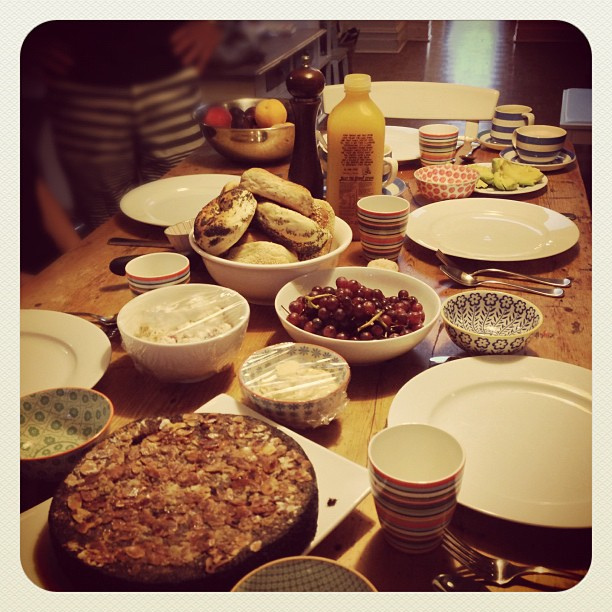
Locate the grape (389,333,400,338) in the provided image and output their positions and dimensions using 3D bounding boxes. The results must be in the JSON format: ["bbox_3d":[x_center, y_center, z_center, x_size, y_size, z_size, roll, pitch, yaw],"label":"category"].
[{"bbox_3d":[0.107,0.035,0.671,0.006,0.004,0.007,-3,10,4],"label":"grape"}]

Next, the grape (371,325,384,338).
[{"bbox_3d":[0.086,0.030,0.668,0.016,0.015,0.014,3,12,10],"label":"grape"}]

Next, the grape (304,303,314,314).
[{"bbox_3d":[0.005,0.003,0.692,0.011,0.009,0.011,-1,20,-2],"label":"grape"}]

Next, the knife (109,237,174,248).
[{"bbox_3d":[-0.299,-0.113,1.008,0.135,0.005,0.029,4,42,3],"label":"knife"}]

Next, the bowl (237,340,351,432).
[{"bbox_3d":[-0.016,0.070,0.611,0.115,0.046,0.100,-2,27,-3],"label":"bowl"}]

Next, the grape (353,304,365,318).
[{"bbox_3d":[0.065,0.007,0.663,0.016,0.015,0.014,3,12,8],"label":"grape"}]

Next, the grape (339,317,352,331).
[{"bbox_3d":[0.049,0.022,0.675,0.015,0.015,0.006,-18,35,-27],"label":"grape"}]

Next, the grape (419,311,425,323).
[{"bbox_3d":[0.143,0.013,0.686,0.012,0.012,0.007,1,-16,7],"label":"grape"}]

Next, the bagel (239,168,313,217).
[{"bbox_3d":[-0.041,-0.178,0.812,0.114,0.037,0.049,18,36,17],"label":"bagel"}]

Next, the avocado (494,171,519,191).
[{"bbox_3d":[0.429,-0.272,1.213,0.042,0.027,0.069,-4,28,-6],"label":"avocado"}]

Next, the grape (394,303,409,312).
[{"bbox_3d":[0.120,0.002,0.695,0.018,0.009,0.015,3,29,8],"label":"grape"}]

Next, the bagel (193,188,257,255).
[{"bbox_3d":[-0.110,-0.118,0.817,0.113,0.085,0.094,-10,30,-10],"label":"bagel"}]

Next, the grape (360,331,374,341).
[{"bbox_3d":[0.072,0.036,0.663,0.010,0.009,0.011,-6,3,10],"label":"grape"}]

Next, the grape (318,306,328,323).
[{"bbox_3d":[0.024,0.010,0.679,0.020,0.019,0.017,1,22,4],"label":"grape"}]

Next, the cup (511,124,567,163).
[{"bbox_3d":[0.557,-0.391,1.381,0.107,0.074,0.126,-27,37,-29],"label":"cup"}]

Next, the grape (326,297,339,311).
[{"bbox_3d":[0.033,-0.003,0.671,0.018,0.017,0.016,4,16,7],"label":"grape"}]

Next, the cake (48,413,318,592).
[{"bbox_3d":[-0.106,0.170,0.495,0.226,0.045,0.186,-5,27,-9],"label":"cake"}]

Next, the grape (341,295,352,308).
[{"bbox_3d":[0.050,-0.005,0.670,0.012,0.007,0.011,0,39,-6],"label":"grape"}]

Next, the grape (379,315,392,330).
[{"bbox_3d":[0.098,0.020,0.677,0.019,0.018,0.017,-1,18,1],"label":"grape"}]

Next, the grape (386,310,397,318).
[{"bbox_3d":[0.106,0.010,0.677,0.010,0.008,0.009,-1,17,5],"label":"grape"}]

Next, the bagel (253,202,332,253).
[{"bbox_3d":[-0.023,-0.111,0.777,0.084,0.025,0.082,24,0,12],"label":"bagel"}]

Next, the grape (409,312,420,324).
[{"bbox_3d":[0.133,0.015,0.673,0.013,0.008,0.013,-3,13,4],"label":"grape"}]

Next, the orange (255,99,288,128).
[{"bbox_3d":[-0.084,-0.457,1.324,0.083,0.069,0.069,-1,32,-9],"label":"orange"}]

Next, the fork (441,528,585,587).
[{"bbox_3d":[0.178,0.212,0.442,0.141,0.018,0.018,13,27,15],"label":"fork"}]

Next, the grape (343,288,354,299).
[{"bbox_3d":[0.055,-0.016,0.695,0.014,0.012,0.013,4,12,7],"label":"grape"}]

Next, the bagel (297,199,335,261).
[{"bbox_3d":[-0.003,-0.111,0.852,0.076,0.088,0.071,19,31,31],"label":"bagel"}]

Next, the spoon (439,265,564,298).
[{"bbox_3d":[0.293,-0.037,0.859,0.193,0.019,0.053,12,30,24],"label":"spoon"}]

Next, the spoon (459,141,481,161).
[{"bbox_3d":[0.434,-0.411,1.467,0.040,0.022,0.132,11,39,20],"label":"spoon"}]

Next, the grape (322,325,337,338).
[{"bbox_3d":[0.029,0.031,0.662,0.016,0.012,0.017,3,29,6],"label":"grape"}]

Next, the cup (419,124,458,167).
[{"bbox_3d":[0.303,-0.380,1.333,0.107,0.088,0.122,-1,28,8],"label":"cup"}]

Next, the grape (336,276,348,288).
[{"bbox_3d":[0.052,-0.033,0.758,0.018,0.017,0.016,1,-13,5],"label":"grape"}]

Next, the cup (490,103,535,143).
[{"bbox_3d":[0.557,-0.507,1.547,0.109,0.091,0.137,-13,27,-32],"label":"cup"}]

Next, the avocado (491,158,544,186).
[{"bbox_3d":[0.469,-0.285,1.246,0.097,0.032,0.075,10,19,-13],"label":"avocado"}]

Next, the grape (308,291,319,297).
[{"bbox_3d":[0.011,-0.015,0.714,0.010,0.007,0.007,-19,45,10],"label":"grape"}]

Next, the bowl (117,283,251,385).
[{"bbox_3d":[-0.146,0.018,0.660,0.155,0.063,0.137,3,28,4],"label":"bowl"}]

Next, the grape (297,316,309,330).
[{"bbox_3d":[-0.004,0.021,0.682,0.015,0.014,0.013,5,11,-6],"label":"grape"}]

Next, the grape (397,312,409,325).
[{"bbox_3d":[0.118,0.015,0.675,0.014,0.006,0.012,1,31,-13],"label":"grape"}]

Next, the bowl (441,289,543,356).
[{"bbox_3d":[0.234,0.016,0.718,0.112,0.045,0.096,0,38,2],"label":"bowl"}]

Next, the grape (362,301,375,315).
[{"bbox_3d":[0.075,0.003,0.665,0.016,0.015,0.014,-3,9,0],"label":"grape"}]

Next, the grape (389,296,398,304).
[{"bbox_3d":[0.111,-0.007,0.710,0.010,0.010,0.009,4,-20,4],"label":"grape"}]

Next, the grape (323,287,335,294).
[{"bbox_3d":[0.030,-0.020,0.704,0.010,0.010,0.009,4,14,10],"label":"grape"}]

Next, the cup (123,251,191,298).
[{"bbox_3d":[-0.206,-0.049,0.787,0.082,0.056,0.080,0,31,0],"label":"cup"}]

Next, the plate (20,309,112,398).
[{"bbox_3d":[-0.304,0.039,0.687,0.130,0.014,0.110,-3,38,-5],"label":"plate"}]

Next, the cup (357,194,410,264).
[{"bbox_3d":[0.140,-0.119,0.942,0.096,0.089,0.088,-2,20,1],"label":"cup"}]
